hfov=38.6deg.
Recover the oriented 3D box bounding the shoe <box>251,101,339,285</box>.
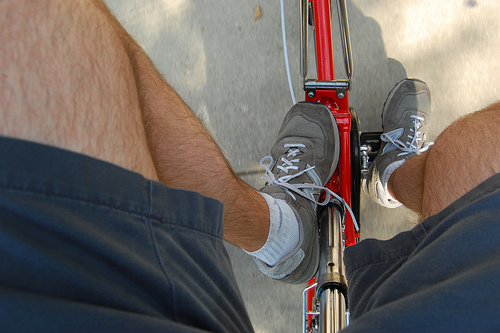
[{"bbox_3d":[0.104,0.069,1.711,0.142,0.171,0.473,5,43,14],"label":"shoe"}]

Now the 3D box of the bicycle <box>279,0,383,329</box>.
[{"bbox_3d":[0.198,-0.048,1.684,0.260,0.822,0.289,-1,4,6],"label":"bicycle"}]

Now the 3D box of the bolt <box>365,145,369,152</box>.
[{"bbox_3d":[0.296,-0.045,1.807,0.009,0.006,0.015,-2,42,7],"label":"bolt"}]

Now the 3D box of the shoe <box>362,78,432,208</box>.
[{"bbox_3d":[0.401,-0.099,1.896,0.123,0.441,0.167,12,4,-5],"label":"shoe"}]

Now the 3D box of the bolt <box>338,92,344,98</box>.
[{"bbox_3d":[0.227,-0.174,1.760,0.008,0.013,0.005,14,6,6],"label":"bolt"}]
